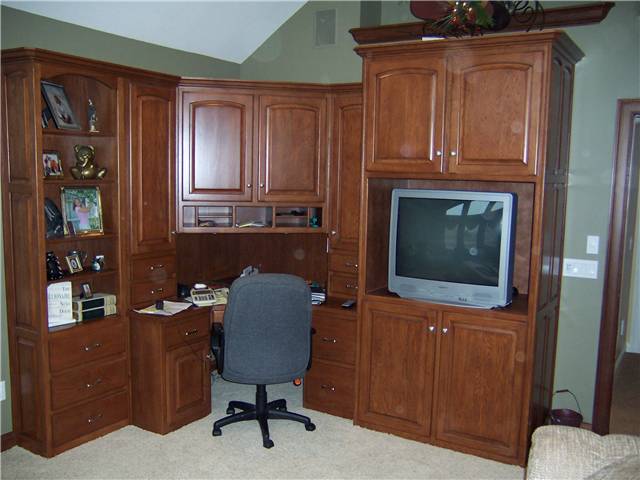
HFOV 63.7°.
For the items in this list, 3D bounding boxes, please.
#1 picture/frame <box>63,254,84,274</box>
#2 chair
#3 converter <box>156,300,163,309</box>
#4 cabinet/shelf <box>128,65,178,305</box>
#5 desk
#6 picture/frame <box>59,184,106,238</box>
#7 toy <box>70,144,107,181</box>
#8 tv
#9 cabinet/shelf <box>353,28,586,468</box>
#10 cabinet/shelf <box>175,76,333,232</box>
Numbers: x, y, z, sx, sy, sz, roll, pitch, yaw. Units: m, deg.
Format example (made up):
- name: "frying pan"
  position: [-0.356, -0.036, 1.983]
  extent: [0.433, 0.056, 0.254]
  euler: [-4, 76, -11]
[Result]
- name: "picture/frame"
  position: [-1.835, 0.177, 3.793]
  extent: [0.021, 0.165, 0.146]
  euler: [-27, -9, 27]
- name: "chair"
  position: [-0.401, 0.834, 3.735]
  extent: [0.771, 1.271, 0.399]
  euler: [2, 12, -1]
- name: "converter"
  position: [-1.230, 0.494, 3.931]
  extent: [0.055, 0.052, 0.055]
  euler: [-1, 1, 15]
- name: "cabinet/shelf"
  position: [-1.312, -0.355, 4.003]
  extent: [0.182, 1.711, 0.551]
  euler: [7, 13, 23]
- name: "desk"
  position: [-0.637, 0.965, 3.935]
  extent: [1.196, 0.730, 1.177]
  euler: [-1, 1, 32]
- name: "picture/frame"
  position: [-1.759, -0.206, 3.755]
  extent: [0.047, 0.450, 0.390]
  euler: [-16, -5, 37]
- name: "toy"
  position: [-1.713, -0.565, 3.764]
  extent: [0.164, 0.268, 0.292]
  euler: [10, 10, 38]
- name: "tv"
  position: [0.952, 0.065, 3.640]
  extent: [0.897, 0.791, 0.310]
  euler: [2, 3, 23]
- name: "cabinet/shelf"
  position: [1.031, 0.025, 3.814]
  extent: [1.516, 2.880, 0.809]
  euler: [7, 13, 24]
- name: "cabinet/shelf"
  position: [-0.558, -0.724, 4.218]
  extent: [1.418, 1.193, 0.517]
  euler: [0, 1, -9]
